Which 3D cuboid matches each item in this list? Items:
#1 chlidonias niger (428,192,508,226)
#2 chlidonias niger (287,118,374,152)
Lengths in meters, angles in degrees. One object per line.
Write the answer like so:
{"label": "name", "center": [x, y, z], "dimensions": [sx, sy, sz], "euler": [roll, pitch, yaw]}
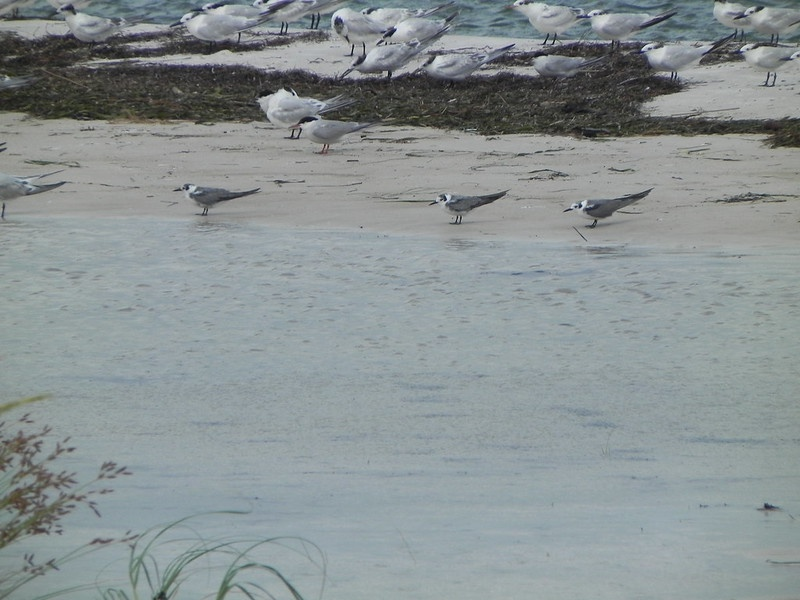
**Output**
{"label": "chlidonias niger", "center": [0.757, -1.003, 11.686], "dimensions": [0.722, 0.485, 0.426], "euler": [0, 58, -2]}
{"label": "chlidonias niger", "center": [-0.927, -2.272, 14.779], "dimensions": [1.043, 0.703, 0.664], "euler": [-4, 58, -5]}
